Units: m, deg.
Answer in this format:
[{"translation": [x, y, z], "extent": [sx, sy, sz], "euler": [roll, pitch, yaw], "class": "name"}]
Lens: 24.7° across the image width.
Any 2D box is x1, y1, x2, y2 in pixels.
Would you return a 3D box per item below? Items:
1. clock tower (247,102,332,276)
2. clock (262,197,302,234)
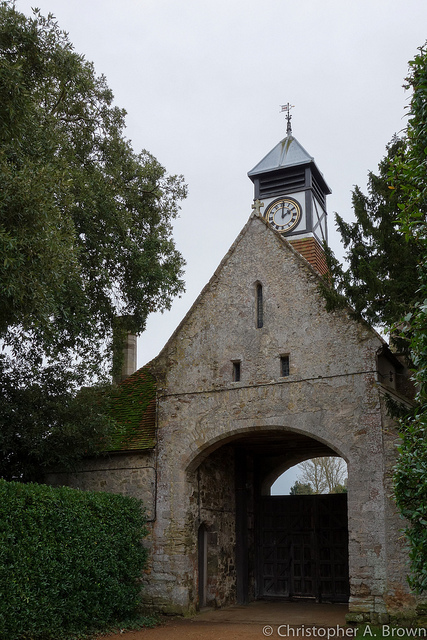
[{"translation": [2.127, -3.619, 26.400], "extent": [1.990, 4.804, 1.922], "euler": [-3, -2, -29], "class": "clock tower"}, {"translation": [1.847, -2.751, 25.779], "extent": [0.279, 1.289, 1.246], "euler": [17, -24, -32], "class": "clock"}]
